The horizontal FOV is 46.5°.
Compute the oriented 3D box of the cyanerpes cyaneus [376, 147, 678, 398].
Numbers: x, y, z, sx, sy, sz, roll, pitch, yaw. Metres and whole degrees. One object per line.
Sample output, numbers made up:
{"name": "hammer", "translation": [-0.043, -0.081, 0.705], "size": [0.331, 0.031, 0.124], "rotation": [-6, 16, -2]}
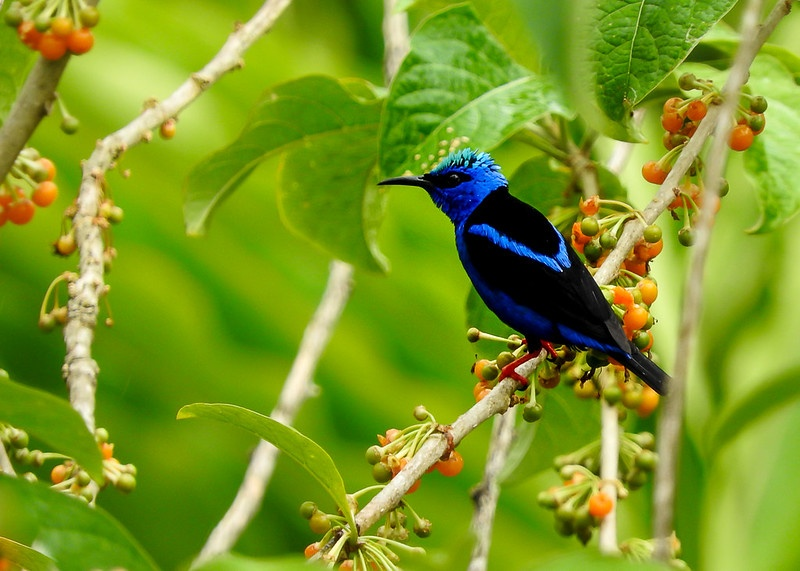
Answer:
{"name": "cyanerpes cyaneus", "translation": [0.619, -0.043, 3.696], "size": [1.177, 0.843, 0.390], "rotation": [12, 16, 25]}
